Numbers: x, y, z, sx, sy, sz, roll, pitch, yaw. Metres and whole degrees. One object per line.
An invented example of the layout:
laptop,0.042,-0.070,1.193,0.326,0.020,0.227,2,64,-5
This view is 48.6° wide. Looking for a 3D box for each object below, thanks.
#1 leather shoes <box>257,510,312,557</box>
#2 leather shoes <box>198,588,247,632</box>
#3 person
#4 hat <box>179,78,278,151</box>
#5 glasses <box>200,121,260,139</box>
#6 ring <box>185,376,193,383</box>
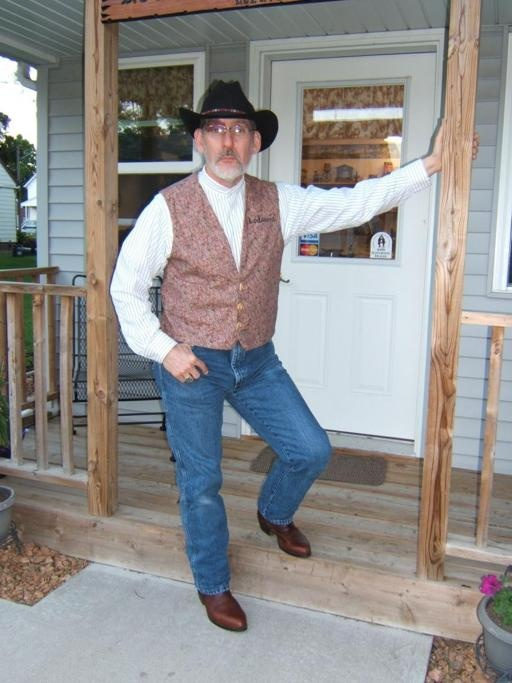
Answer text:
leather shoes,0.123,0.740,2.176,0.092,0.102,0.246,-15,20,-42
leather shoes,-0.119,0.895,1.963,0.086,0.088,0.213,-11,14,-41
person,-0.011,0.073,1.953,0.836,1.852,0.458,-10,17,-26
hat,-0.101,-0.779,2.022,0.401,0.159,0.434,2,-5,-8
glasses,-0.091,-0.672,1.814,0.164,0.067,0.119,-4,14,-6
ring,-0.209,0.120,1.761,0.016,0.020,0.011,-6,26,-22
